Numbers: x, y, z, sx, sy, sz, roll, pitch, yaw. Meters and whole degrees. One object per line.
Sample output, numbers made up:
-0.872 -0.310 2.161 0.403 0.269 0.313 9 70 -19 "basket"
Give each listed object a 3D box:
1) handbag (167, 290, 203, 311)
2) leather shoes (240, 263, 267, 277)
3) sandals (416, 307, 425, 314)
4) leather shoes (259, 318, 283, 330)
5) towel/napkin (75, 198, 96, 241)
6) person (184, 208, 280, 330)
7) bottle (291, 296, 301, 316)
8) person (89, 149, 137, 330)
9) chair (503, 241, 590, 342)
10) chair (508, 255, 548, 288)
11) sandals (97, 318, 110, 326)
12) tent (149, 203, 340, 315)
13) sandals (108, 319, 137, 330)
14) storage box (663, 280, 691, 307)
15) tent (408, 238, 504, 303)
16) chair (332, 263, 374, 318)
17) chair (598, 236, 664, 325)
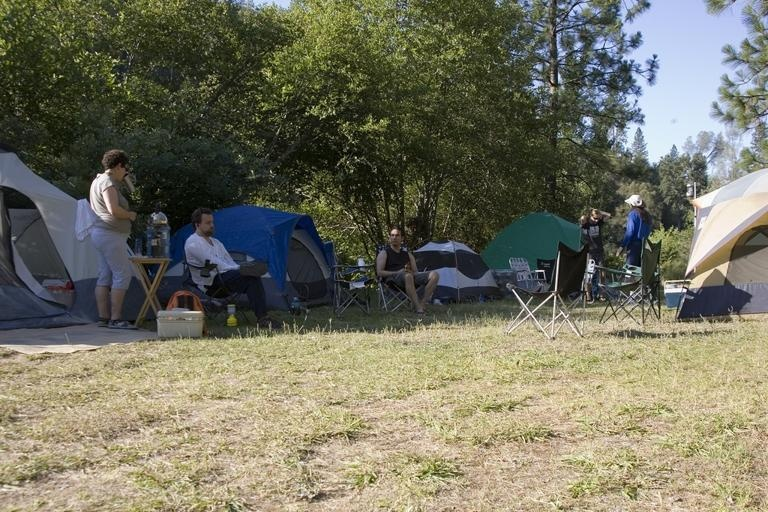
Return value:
-2.792 0.632 10.546 0.284 0.231 0.151 1 -11 -11 "handbag"
-1.859 0.183 10.619 0.368 0.197 0.254 1 -5 -12 "leather shoes"
0.567 0.850 11.744 0.118 0.110 0.282 0 -5 3 "sandals"
-1.622 0.975 10.692 0.346 0.138 0.148 0 0 8 "leather shoes"
-4.161 -0.498 10.423 0.287 0.696 0.225 -29 -37 12 "towel/napkin"
-2.298 0.151 10.888 1.220 1.730 0.484 -1 -5 15 "person"
-1.496 0.849 12.457 0.200 0.223 0.235 2 3 6 "bottle"
-3.711 -0.229 10.218 0.531 2.424 0.661 4 -6 -38 "person"
2.269 0.445 10.363 1.138 1.293 1.145 2 2 -7 "chair"
3.160 0.488 16.395 0.851 0.961 0.870 -2 -3 20 "chair"
-3.864 0.920 10.286 0.214 0.086 0.083 0 -1 8 "sandals"
-2.426 -0.055 13.079 2.244 1.335 2.247 0 2 26 "tent"
-3.592 0.938 10.238 0.413 0.167 0.147 0 -1 -14 "sandals"
5.013 0.610 12.823 0.611 0.436 0.579 1 5 14 "storage box"
1.260 0.211 15.434 2.220 1.098 2.047 3 2 -33 "tent"
-0.519 0.482 12.601 0.818 1.028 0.725 2 6 -4 "chair"
3.719 0.423 11.481 1.030 1.193 1.042 -3 2 -26 "chair"
